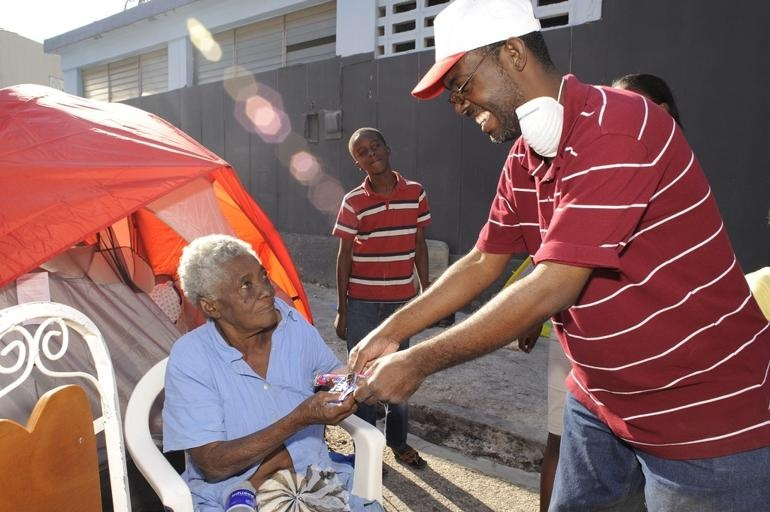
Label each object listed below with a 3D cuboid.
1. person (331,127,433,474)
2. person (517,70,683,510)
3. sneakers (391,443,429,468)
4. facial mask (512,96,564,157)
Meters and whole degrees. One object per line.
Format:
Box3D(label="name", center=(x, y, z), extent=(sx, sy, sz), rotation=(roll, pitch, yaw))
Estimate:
Box3D(label="person", center=(0.049, 0.308, 5.645), extent=(0.830, 2.614, 0.595), rotation=(1, 7, 22))
Box3D(label="person", center=(1.159, 0.143, 4.566), extent=(0.973, 3.263, 0.919), rotation=(8, 14, 19))
Box3D(label="sneakers", center=(0.178, 1.482, 5.308), extent=(0.242, 0.102, 0.111), rotation=(9, 13, 39))
Box3D(label="facial mask", center=(0.731, -0.622, 3.385), extent=(0.187, 0.271, 0.204), rotation=(17, 30, 26))
